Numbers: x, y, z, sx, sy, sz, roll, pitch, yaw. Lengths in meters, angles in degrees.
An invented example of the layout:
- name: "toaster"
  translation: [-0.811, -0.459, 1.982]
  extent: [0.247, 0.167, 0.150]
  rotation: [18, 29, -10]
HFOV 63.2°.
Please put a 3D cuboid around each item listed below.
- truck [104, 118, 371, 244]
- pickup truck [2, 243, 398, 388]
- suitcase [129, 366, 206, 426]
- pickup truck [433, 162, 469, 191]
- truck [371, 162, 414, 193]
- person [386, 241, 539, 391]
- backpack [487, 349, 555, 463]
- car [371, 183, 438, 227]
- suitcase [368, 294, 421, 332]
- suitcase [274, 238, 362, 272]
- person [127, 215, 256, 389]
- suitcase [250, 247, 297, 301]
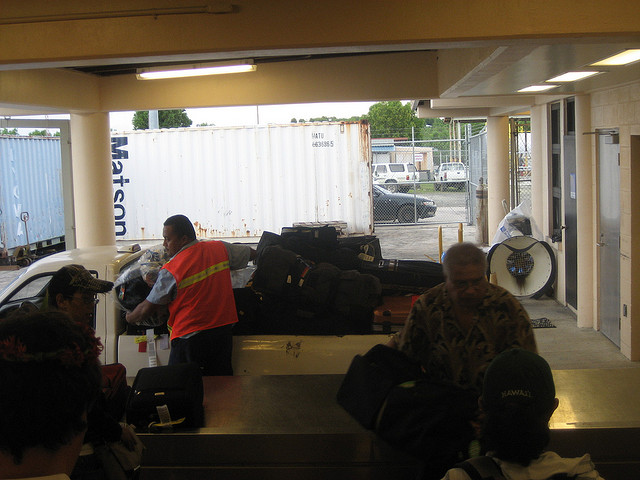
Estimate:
- name: "truck"
  translation: [-2.242, -1.506, 14.603]
  extent: [7.043, 2.804, 2.113]
  rotation: [-3, -8, 0]
- name: "pickup truck"
  translation: [-1.237, 0.705, 5.046]
  extent: [3.498, 1.266, 0.883]
  rotation: [-2, 6, 0]
- name: "suitcase"
  translation: [-0.941, 0.978, 3.251]
  extent: [0.464, 0.319, 0.340]
  rotation: [-2, 6, -1]
- name: "pickup truck"
  translation: [7.579, -3.777, 30.374]
  extent: [1.714, 1.516, 3.169]
  rotation: [-1, 11, 0]
- name: "truck"
  translation: [3.652, -3.306, 26.409]
  extent: [2.869, 1.575, 1.796]
  rotation: [4, 9, 5]
- name: "person"
  translation: [0.833, 0.435, 3.078]
  extent: [0.818, 0.821, 0.209]
  rotation: [0, 6, 19]
- name: "backpack"
  translation: [0.776, 0.638, 2.027]
  extent: [0.263, 0.434, 0.205]
  rotation: [0, -32, 22]
- name: "car"
  translation: [3.333, -1.434, 21.345]
  extent: [3.286, 1.168, 1.514]
  rotation: [3, 2, -2]
- name: "suitcase"
  translation: [0.617, 0.633, 4.458]
  extent: [0.462, 0.113, 0.471]
  rotation: [-2, 8, 7]
- name: "suitcase"
  translation: [-0.253, 0.196, 5.779]
  extent: [0.864, 0.258, 0.798]
  rotation: [-1, -15, 20]
- name: "person"
  translation: [-1.078, 0.548, 4.519]
  extent: [1.028, 1.509, 1.723]
  rotation: [-2, 6, -8]
- name: "suitcase"
  translation: [-0.423, 0.328, 4.782]
  extent: [0.339, 0.456, 0.254]
  rotation: [24, 14, 16]
